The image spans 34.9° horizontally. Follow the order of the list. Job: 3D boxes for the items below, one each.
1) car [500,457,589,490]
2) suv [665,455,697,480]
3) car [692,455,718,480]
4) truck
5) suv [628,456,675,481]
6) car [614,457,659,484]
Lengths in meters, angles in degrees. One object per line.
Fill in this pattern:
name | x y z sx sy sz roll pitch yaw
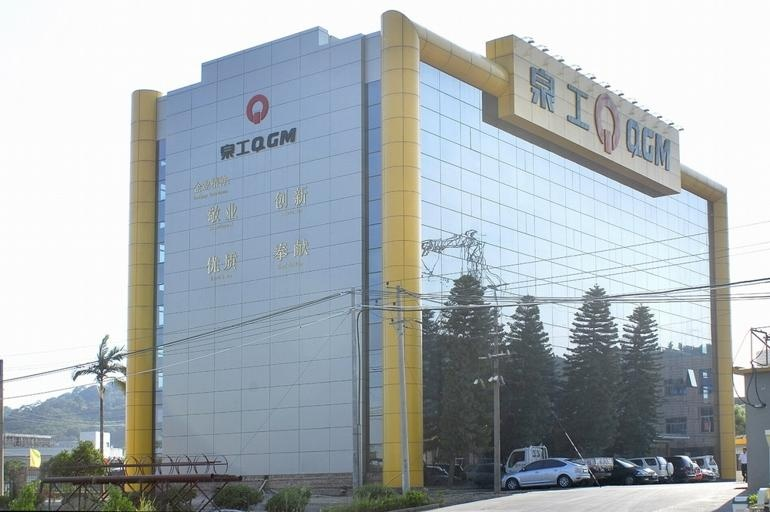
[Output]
car | 11.411 15.422 86.552 5.121 1.815 2.509 -1 -12 5
suv | 23.865 16.814 97.127 1.500 1.328 2.663 -4 -5 37
car | 27.320 17.726 103.188 1.543 1.644 2.663 2 -11 -12
truck | 11.674 15.142 87.220 6.525 3.061 3.976 -6 -18 17
suv | 20.548 16.287 94.418 2.878 1.476 1.685 1 -6 30
car | 18.800 16.252 92.527 2.757 1.397 1.729 -11 -14 31
